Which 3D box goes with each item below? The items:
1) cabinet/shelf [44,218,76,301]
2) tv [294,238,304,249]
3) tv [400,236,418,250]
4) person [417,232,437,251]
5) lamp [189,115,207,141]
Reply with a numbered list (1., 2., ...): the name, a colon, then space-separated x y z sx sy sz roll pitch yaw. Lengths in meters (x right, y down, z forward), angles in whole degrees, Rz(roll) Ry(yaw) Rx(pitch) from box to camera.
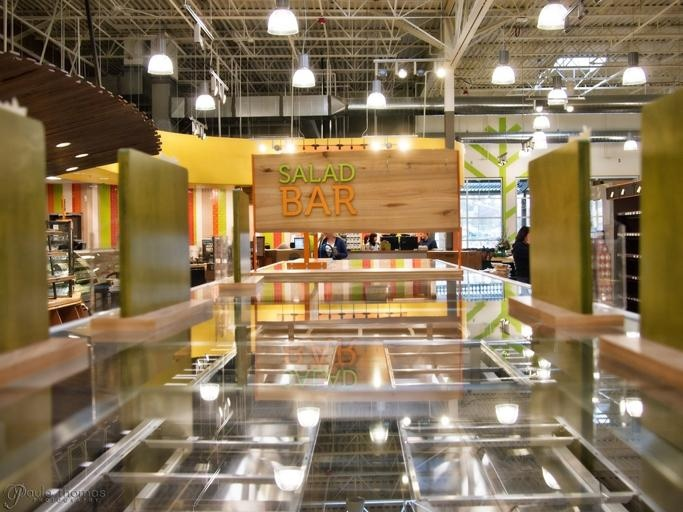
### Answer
1. cabinet/shelf: -3.293 -0.011 5.863 0.446 0.832 0.840 -1 8 -34
2. tv: -1.260 -0.363 14.759 0.359 0.367 0.303 1 -4 -4
3. tv: 1.527 -0.303 11.672 0.326 0.264 0.349 1 1 0
4. person: 2.168 -0.378 13.157 0.428 0.452 0.812 7 3 1
5. lamp: -3.410 -3.048 12.176 0.298 0.456 1.080 -2 6 -15
